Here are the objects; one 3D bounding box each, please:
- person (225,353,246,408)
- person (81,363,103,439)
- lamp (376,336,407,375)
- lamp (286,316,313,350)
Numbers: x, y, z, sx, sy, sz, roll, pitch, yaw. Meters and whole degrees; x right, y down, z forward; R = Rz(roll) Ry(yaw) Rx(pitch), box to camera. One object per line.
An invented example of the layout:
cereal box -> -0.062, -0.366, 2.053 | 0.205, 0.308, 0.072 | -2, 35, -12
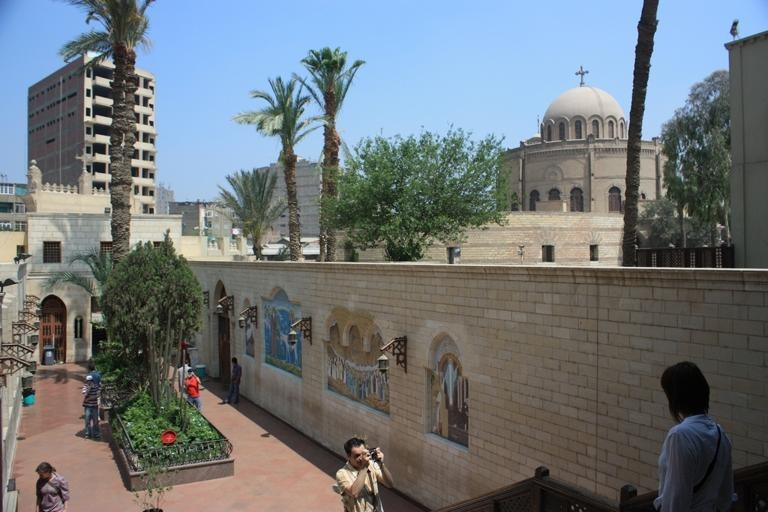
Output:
person -> -5.513, 4.416, 22.659 | 0.632, 1.659, 1.318 | -2, 5, -14
person -> -9.087, 4.455, 19.215 | 0.485, 1.990, 1.455 | -3, 6, -27
lamp -> 0.220, 2.378, 15.037 | 0.329, 0.989, 0.787 | -5, 7, -41
lamp -> -2.549, 2.253, 18.838 | 0.636, 1.046, 1.201 | -2, 5, -14
